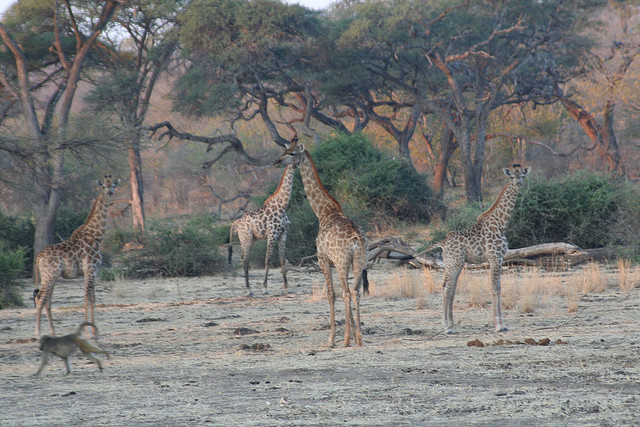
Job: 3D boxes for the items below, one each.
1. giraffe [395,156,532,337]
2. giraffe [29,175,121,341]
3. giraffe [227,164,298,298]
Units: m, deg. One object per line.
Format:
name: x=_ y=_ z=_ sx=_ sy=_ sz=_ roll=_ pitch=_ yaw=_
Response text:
giraffe: x=5.855 y=1.530 z=49.579 sx=4.611 sy=7.470 sz=10.205 roll=1 pitch=-1 yaw=-8
giraffe: x=-8.900 y=1.721 z=43.922 sx=3.933 sy=5.602 sz=1.336 roll=-6 pitch=2 yaw=-20
giraffe: x=-2.024 y=0.609 z=48.564 sx=4.184 sy=5.633 sz=1.503 roll=-3 pitch=-1 yaw=31
